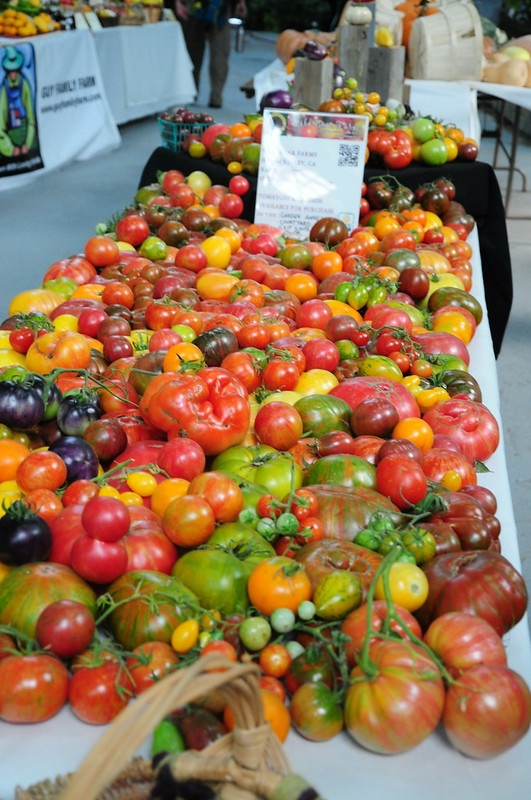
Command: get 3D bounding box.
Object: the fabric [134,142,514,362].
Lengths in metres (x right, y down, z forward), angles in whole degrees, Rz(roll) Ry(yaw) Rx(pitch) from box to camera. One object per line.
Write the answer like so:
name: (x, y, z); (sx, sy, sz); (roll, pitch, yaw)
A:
fabric: (0.219, -0.667, 2.478); (1.031, 0.522, 1.042); (4, 34, 5)
